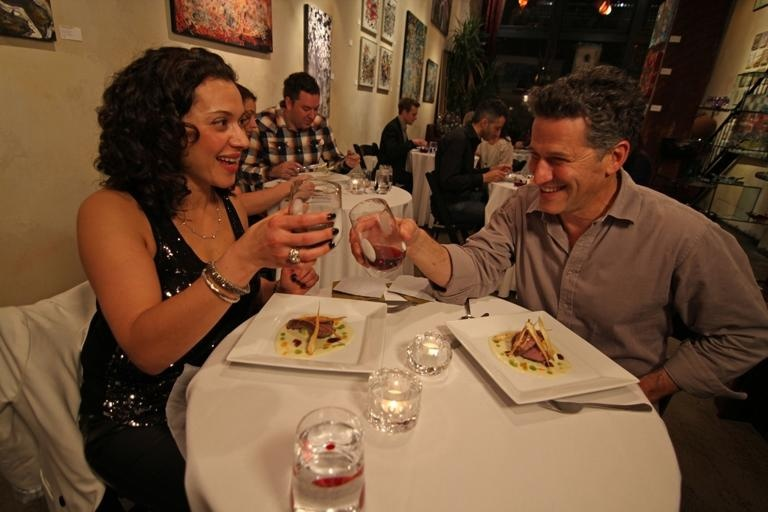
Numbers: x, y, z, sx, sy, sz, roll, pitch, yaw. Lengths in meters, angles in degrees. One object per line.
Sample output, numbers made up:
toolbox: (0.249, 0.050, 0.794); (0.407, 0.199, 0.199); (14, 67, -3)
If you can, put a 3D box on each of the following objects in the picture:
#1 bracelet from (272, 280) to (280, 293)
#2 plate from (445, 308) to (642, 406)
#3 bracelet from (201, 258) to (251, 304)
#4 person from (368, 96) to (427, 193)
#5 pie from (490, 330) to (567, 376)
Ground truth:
bracelet: (-0.546, 0.160, 2.644); (0.041, 0.059, 0.056); (-2, 25, 0)
plate: (0.662, 0.433, 2.230); (0.684, 0.150, 0.488); (-6, 31, -16)
bracelet: (-0.671, 0.119, 2.192); (0.172, 0.068, 0.156); (52, 12, 27)
person: (0.220, -1.444, 7.155); (0.618, 1.412, 0.610); (-6, 29, -12)
pie: (0.607, 0.418, 2.220); (0.191, 0.022, 0.192); (5, 24, -24)
